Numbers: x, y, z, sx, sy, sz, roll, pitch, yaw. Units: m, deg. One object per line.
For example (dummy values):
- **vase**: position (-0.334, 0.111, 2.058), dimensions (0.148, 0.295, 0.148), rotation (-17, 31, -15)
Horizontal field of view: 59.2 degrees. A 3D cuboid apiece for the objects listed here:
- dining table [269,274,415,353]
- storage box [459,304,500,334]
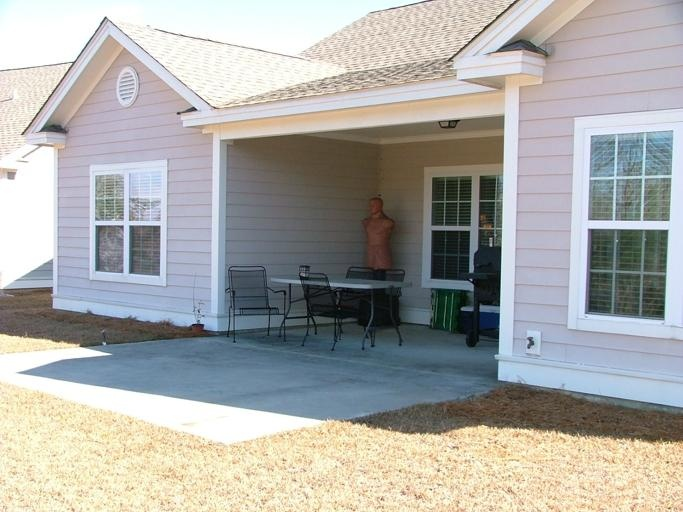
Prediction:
- **dining table**: position (0.264, 0.973, 9.671), dimensions (1.543, 0.812, 1.882), rotation (-5, 5, -45)
- **storage box**: position (2.213, 0.992, 9.721), dimensions (0.602, 0.470, 0.899), rotation (-1, 1, -17)
